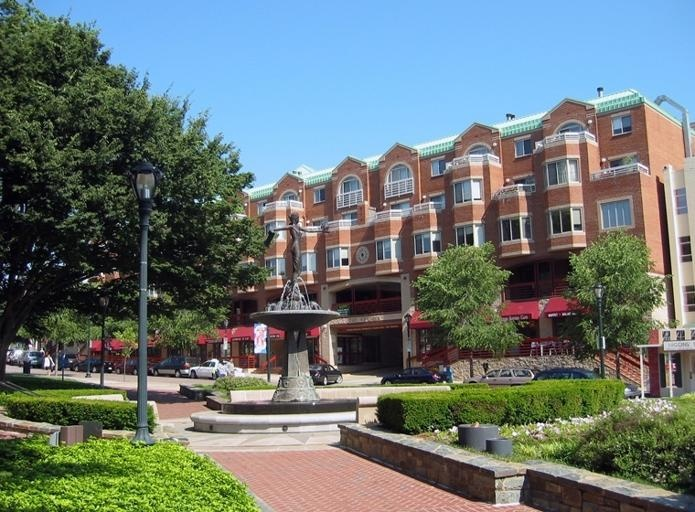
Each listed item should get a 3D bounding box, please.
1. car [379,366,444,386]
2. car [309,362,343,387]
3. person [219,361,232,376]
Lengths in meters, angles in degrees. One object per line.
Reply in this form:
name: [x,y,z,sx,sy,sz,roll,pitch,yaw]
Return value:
car: [3.794,7.030,42.218,4.056,1.327,1.737,-1,-12,13]
car: [-1.490,7.909,45.988,2.298,1.469,1.379,12,-17,-41]
person: [-9.352,8.578,52.580,1.219,0.553,1.653,-2,3,-6]
